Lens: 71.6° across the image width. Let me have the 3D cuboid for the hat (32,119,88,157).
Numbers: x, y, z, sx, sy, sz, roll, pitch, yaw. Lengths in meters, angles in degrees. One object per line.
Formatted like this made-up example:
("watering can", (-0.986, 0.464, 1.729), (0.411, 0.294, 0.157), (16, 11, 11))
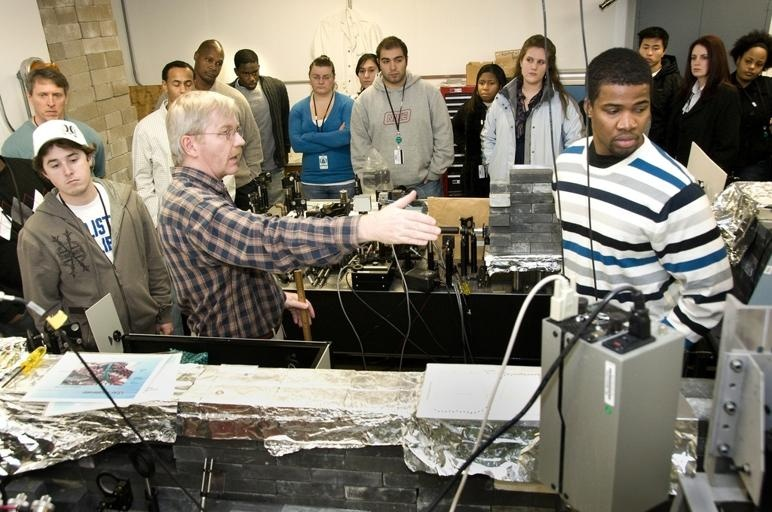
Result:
("hat", (-1.754, -0.636, 2.869), (0.264, 0.175, 0.196), (-15, 22, -30))

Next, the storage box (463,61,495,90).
("storage box", (1.231, -2.293, 6.988), (0.430, 0.334, 0.432), (0, 12, 7))

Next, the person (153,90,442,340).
("person", (-0.535, -0.038, 2.241), (0.481, 1.245, 1.110), (-20, 25, -39))

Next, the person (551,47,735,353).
("person", (1.061, -0.252, 2.269), (0.775, 1.195, 0.509), (10, 24, 35))
